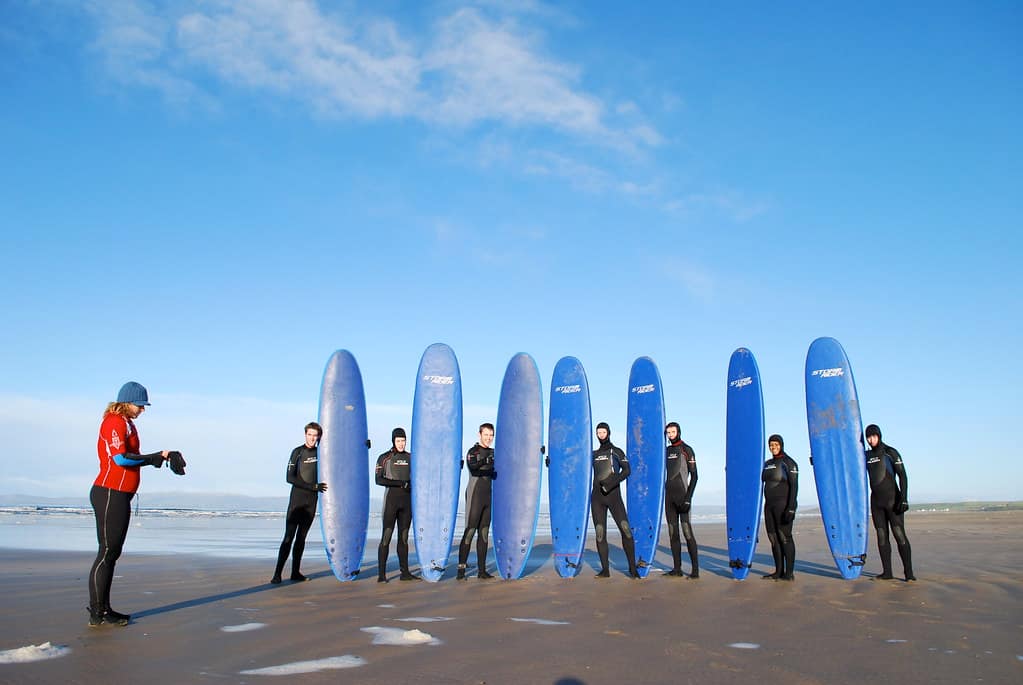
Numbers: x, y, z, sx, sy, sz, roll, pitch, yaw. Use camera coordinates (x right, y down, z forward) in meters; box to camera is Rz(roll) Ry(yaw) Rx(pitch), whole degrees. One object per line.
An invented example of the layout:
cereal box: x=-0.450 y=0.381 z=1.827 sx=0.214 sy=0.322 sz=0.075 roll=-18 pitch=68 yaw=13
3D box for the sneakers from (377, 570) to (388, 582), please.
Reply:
sneakers: x=-1.564 y=2.831 z=8.924 sx=0.142 sy=0.152 sz=0.115 roll=-7 pitch=-11 yaw=26

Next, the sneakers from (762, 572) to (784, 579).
sneakers: x=3.316 y=2.990 z=9.405 sx=0.285 sy=0.115 sz=0.090 roll=0 pitch=-12 yaw=22

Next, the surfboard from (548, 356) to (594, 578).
surfboard: x=0.843 y=1.455 z=9.980 sx=0.684 sy=3.283 sz=0.503 roll=-9 pitch=-20 yaw=34

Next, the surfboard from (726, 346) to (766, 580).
surfboard: x=3.029 y=1.596 z=9.614 sx=0.366 sy=3.188 sz=0.632 roll=18 pitch=-20 yaw=-35

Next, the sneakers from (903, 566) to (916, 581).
sneakers: x=4.942 y=2.860 z=9.178 sx=0.109 sy=0.189 sz=0.382 roll=-5 pitch=-14 yaw=28

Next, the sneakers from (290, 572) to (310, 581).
sneakers: x=-2.610 y=2.865 z=9.046 sx=0.215 sy=0.098 sz=0.299 roll=5 pitch=-13 yaw=-19

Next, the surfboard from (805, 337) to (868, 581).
surfboard: x=4.177 y=1.500 z=9.483 sx=0.664 sy=3.286 sz=0.359 roll=-7 pitch=-15 yaw=23

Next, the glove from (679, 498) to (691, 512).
glove: x=2.193 y=2.079 z=9.385 sx=0.134 sy=0.163 sz=0.273 roll=-1 pitch=-12 yaw=9

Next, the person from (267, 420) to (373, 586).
person: x=-2.595 y=1.962 z=9.126 sx=0.579 sy=1.904 sz=1.390 roll=5 pitch=-13 yaw=-17

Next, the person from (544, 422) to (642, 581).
person: x=1.281 y=1.997 z=9.293 sx=0.593 sy=1.899 sz=1.098 roll=-1 pitch=-12 yaw=9

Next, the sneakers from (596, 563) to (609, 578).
sneakers: x=1.158 y=2.905 z=9.373 sx=0.152 sy=0.161 sz=0.327 roll=-2 pitch=-12 yaw=13

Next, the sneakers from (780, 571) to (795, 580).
sneakers: x=3.451 y=2.917 z=9.231 sx=0.137 sy=0.119 sz=0.253 roll=-4 pitch=-13 yaw=21

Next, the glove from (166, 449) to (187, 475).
glove: x=-2.953 y=1.039 z=6.386 sx=0.282 sy=0.171 sz=0.087 roll=-8 pitch=-15 yaw=35

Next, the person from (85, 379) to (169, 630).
person: x=-3.424 y=1.400 z=6.490 sx=0.510 sy=2.104 sz=0.635 roll=8 pitch=-14 yaw=-28

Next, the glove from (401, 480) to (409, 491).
glove: x=-1.303 y=1.776 z=9.118 sx=0.081 sy=0.113 sz=0.030 roll=-9 pitch=8 yaw=-23

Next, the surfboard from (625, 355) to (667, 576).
surfboard: x=1.743 y=1.668 z=9.679 sx=0.360 sy=3.195 sz=0.654 roll=17 pitch=-20 yaw=-38
